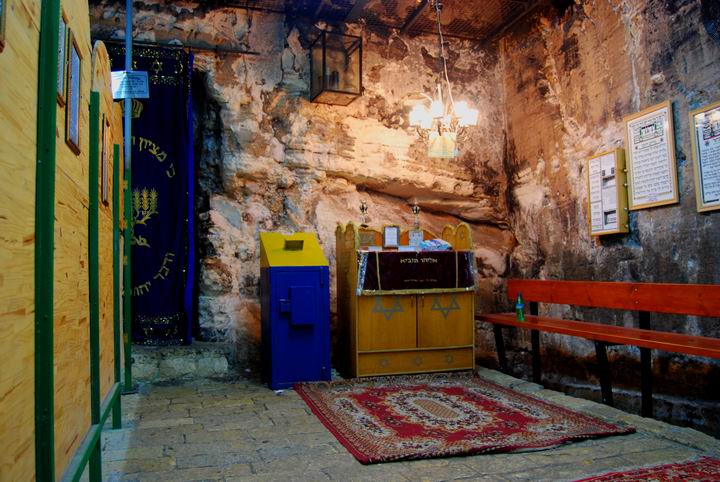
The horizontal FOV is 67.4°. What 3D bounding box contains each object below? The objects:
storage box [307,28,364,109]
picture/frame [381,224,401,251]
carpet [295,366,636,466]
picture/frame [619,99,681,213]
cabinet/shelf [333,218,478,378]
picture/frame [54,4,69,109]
[{"bbox_3d":[-0.330,-2.290,7.121,0.588,0.759,0.587,-5,14,-29],"label":"storage box"},{"bbox_3d":[0.391,-0.031,6.907,0.303,0.418,0.067,2,0,-12],"label":"picture/frame"},{"bbox_3d":[0.785,1.684,5.436,2.427,0.098,2.445,-2,4,-22],"label":"carpet"},{"bbox_3d":[3.146,-0.910,5.867,0.149,1.118,0.649,-2,3,-15],"label":"picture/frame"},{"bbox_3d":[0.560,0.695,6.826,1.653,1.847,0.716,-2,3,-15],"label":"cabinet/shelf"},{"bbox_3d":[-1.702,-1.025,3.096,0.054,0.484,0.182,-2,3,-25],"label":"picture/frame"}]
